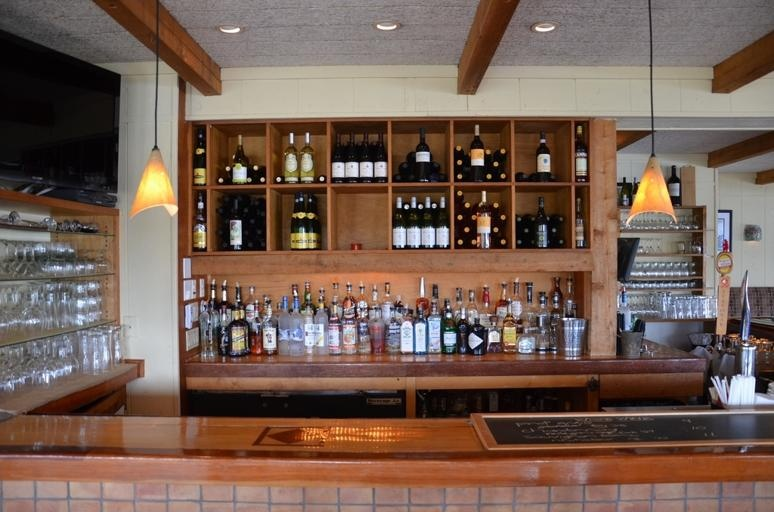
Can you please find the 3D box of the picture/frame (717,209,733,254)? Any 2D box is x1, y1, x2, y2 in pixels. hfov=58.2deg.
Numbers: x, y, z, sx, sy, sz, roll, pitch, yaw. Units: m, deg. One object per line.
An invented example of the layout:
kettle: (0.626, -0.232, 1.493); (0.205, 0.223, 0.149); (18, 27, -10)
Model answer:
picture/frame: (3.812, -0.305, 7.919); (0.117, 0.459, 0.301); (0, 0, 42)

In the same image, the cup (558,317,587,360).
cup: (1.161, 0.559, 4.673); (0.276, 0.296, 0.239); (1, -7, -2)

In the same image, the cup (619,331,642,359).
cup: (1.630, 0.589, 4.669); (0.172, 0.166, 0.166); (2, -8, 0)

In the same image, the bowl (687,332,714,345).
bowl: (2.539, 0.659, 5.643); (0.141, 0.078, 0.132); (1, -5, 0)

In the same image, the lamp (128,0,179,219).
lamp: (-1.394, -0.854, 4.222); (0.276, 1.161, 1.066); (0, 0, -19)

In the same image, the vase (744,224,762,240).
vase: (4.114, -0.270, 7.873); (0.189, 0.158, 0.178); (0, 4, 2)

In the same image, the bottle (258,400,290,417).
bottle: (-0.742, 0.986, 4.565); (0.216, 0.128, 0.111); (1, 0, 7)
